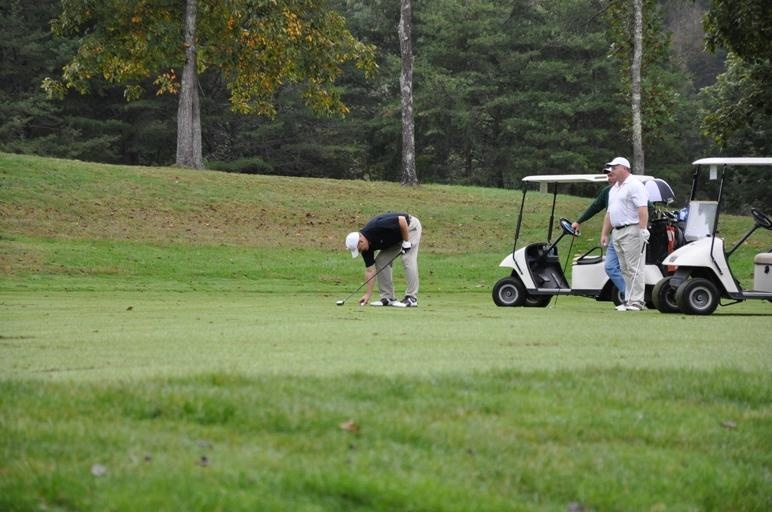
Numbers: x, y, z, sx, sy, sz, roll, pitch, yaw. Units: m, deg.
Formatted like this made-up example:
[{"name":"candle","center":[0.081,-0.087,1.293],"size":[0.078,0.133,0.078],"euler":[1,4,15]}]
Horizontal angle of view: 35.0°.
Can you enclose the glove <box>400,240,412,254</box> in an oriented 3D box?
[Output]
[{"name":"glove","center":[0.537,-0.222,32.106],"size":[0.235,0.335,0.154],"euler":[3,21,-6]}]

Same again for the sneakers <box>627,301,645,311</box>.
[{"name":"sneakers","center":[6.446,1.316,31.479],"size":[0.551,0.221,0.221],"euler":[0,2,-21]}]

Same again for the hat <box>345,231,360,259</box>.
[{"name":"hat","center":[-0.825,-0.282,31.949],"size":[0.375,0.661,0.423],"euler":[6,-10,-44]}]

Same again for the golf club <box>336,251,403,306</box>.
[{"name":"golf club","center":[-0.442,0.696,34.573],"size":[2.009,0.289,0.279],"euler":[-38,15,-16]}]

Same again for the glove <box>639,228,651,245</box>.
[{"name":"glove","center":[6.737,-0.524,31.555],"size":[0.283,0.532,0.522],"euler":[0,16,-1]}]
